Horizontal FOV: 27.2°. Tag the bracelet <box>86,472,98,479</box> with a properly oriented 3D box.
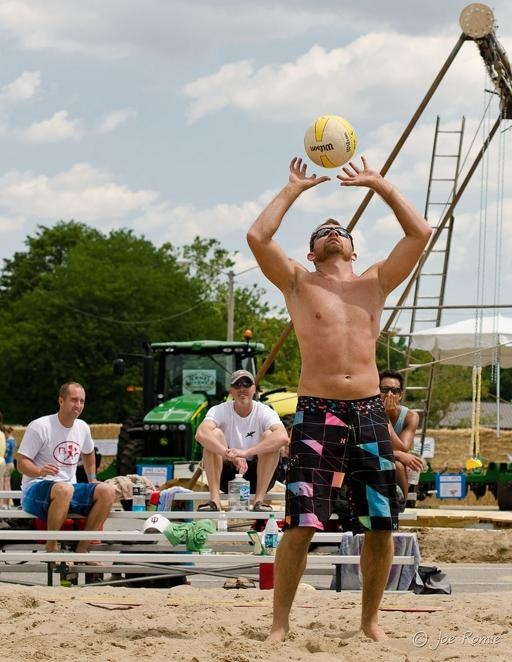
[{"bbox_3d":[-1.269,1.130,8.187,0.086,0.073,0.079,1,0,31],"label":"bracelet"}]

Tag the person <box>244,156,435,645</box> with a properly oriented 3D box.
[{"bbox_3d":[0.406,0.303,5.469,0.925,2.517,0.406,4,-7,-25],"label":"person"}]

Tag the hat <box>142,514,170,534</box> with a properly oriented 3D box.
[{"bbox_3d":[-0.651,1.261,6.901,0.180,0.108,0.338,1,-6,-5],"label":"hat"}]

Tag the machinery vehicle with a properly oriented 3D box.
[{"bbox_3d":[-0.779,1.050,14.127,2.241,1.729,3.310,-1,4,20],"label":"machinery vehicle"}]
